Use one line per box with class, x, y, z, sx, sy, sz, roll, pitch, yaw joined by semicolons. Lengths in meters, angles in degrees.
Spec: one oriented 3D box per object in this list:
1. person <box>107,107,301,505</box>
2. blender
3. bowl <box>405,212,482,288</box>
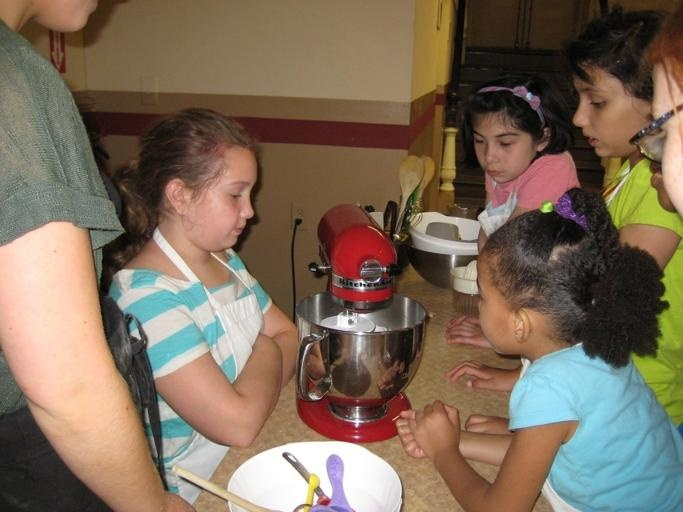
person;-0.387;0.213;1.579;0.528;1.152;0.550;1;18;1
blender;0.026;0.140;1.403;0.268;0.488;0.426;-3;13;-14
bowl;0.373;-0.014;2.149;0.270;0.220;0.297;-4;11;-23
